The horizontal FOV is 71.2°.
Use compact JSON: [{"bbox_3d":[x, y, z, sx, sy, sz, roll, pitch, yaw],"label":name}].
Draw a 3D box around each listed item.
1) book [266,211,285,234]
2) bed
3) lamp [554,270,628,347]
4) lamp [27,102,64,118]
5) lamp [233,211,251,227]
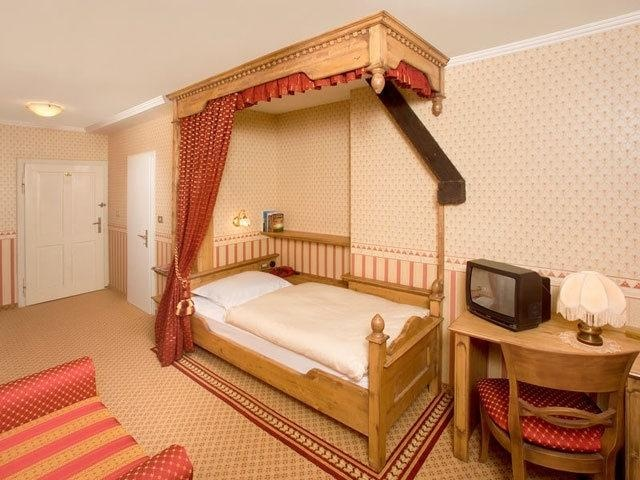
[{"bbox_3d":[-0.593,-0.239,5.844,0.239,0.281,0.251,5,7,31],"label":"book"},{"bbox_3d":[-0.078,0.931,4.421,2.163,1.124,1.369,4,7,41],"label":"bed"},{"bbox_3d":[2.052,0.497,3.503,0.483,0.568,0.518,1,-1,-37],"label":"lamp"},{"bbox_3d":[-3.221,-1.563,5.239,0.261,0.096,0.258,-2,2,-45],"label":"lamp"},{"bbox_3d":[-0.955,-0.276,5.563,0.095,0.220,0.269,7,10,36],"label":"lamp"}]
